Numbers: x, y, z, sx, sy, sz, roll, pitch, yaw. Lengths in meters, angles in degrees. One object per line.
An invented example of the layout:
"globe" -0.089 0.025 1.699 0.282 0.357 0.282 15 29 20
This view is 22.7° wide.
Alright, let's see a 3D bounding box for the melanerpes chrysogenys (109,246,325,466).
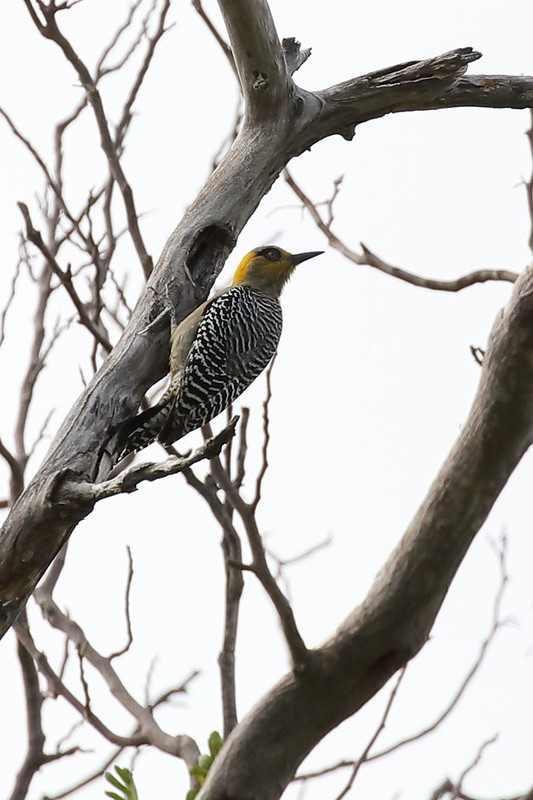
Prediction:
"melanerpes chrysogenys" -0.221 -0.211 5.849 0.709 2.131 0.479 29 -65 -14
